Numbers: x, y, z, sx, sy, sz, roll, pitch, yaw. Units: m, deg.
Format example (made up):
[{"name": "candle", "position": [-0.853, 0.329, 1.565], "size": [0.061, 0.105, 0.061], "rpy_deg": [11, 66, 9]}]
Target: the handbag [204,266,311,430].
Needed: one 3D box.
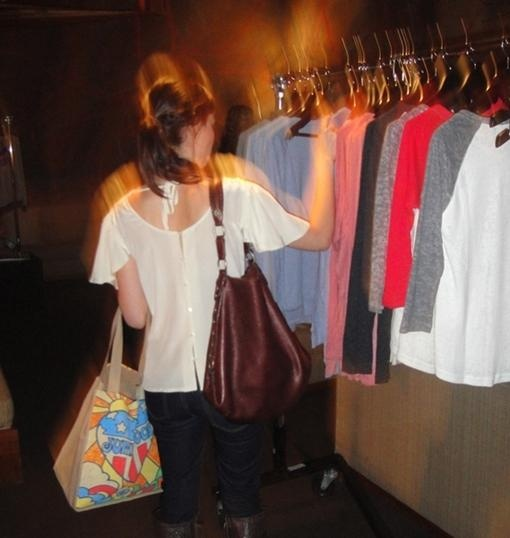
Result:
[{"name": "handbag", "position": [0.004, 0.182, 1.184], "size": [0.295, 0.389, 0.079], "rpy_deg": [-14, 11, -32]}]
